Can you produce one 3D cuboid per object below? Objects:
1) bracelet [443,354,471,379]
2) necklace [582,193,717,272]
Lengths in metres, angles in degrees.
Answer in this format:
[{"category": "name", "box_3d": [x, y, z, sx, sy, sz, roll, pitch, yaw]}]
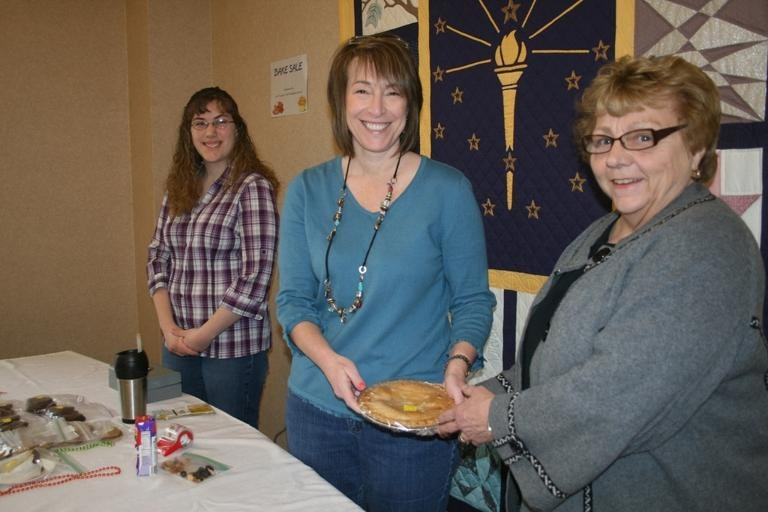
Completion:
[{"category": "bracelet", "box_3d": [0.264, 0.393, 2.271, 0.084, 0.096, 0.040, 1, 6, 6]}, {"category": "necklace", "box_3d": [0.879, -0.022, 2.198, 0.318, 0.083, 0.244, -35, -1, -17]}]
